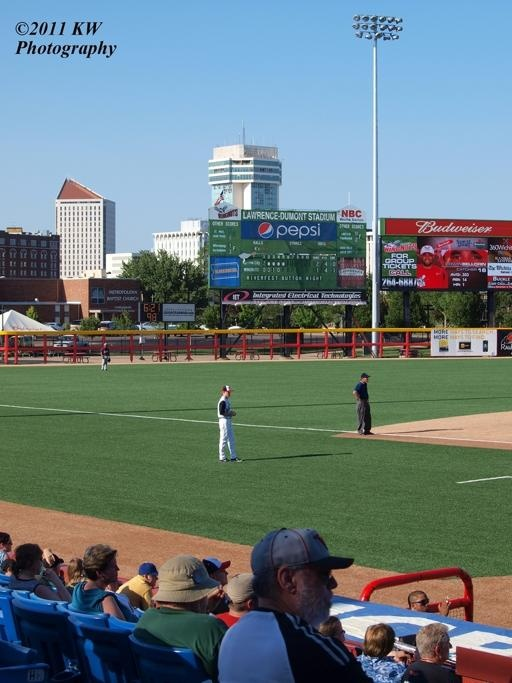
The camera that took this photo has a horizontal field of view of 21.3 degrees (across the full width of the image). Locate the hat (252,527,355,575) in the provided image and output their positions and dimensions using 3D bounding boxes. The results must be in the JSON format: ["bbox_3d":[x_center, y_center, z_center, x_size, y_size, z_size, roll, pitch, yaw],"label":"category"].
[{"bbox_3d":[0.229,1.059,6.805,0.505,0.261,0.318,-10,-19,9],"label":"hat"}]

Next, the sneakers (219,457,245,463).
[{"bbox_3d":[-0.375,1.912,21.765,0.360,0.150,0.125,-2,3,-1],"label":"sneakers"}]
